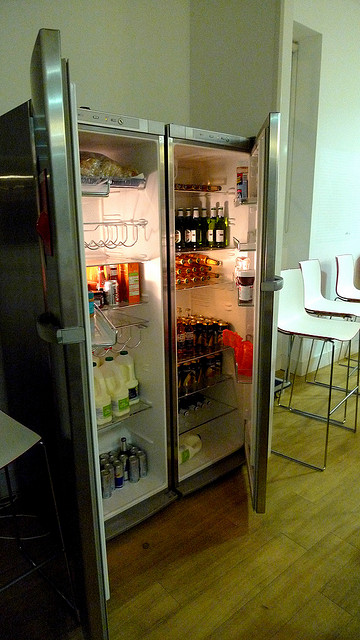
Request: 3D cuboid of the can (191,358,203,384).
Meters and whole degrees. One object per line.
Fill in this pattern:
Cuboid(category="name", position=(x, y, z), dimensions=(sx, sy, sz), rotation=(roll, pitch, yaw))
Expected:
Cuboid(category="can", position=(0.090, 0.244, 2.251), dimensions=(0.042, 0.054, 0.157), rotation=(-1, 58, -1))

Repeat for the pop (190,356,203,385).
Cuboid(category="pop", position=(0.087, 0.256, 2.243), dimensions=(0.043, 0.063, 0.159), rotation=(2, 38, 4))

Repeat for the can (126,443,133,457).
Cuboid(category="can", position=(-0.235, 0.609, 2.055), dimensions=(0.027, 0.035, 0.029), rotation=(3, 13, -1))

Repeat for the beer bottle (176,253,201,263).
Cuboid(category="beer bottle", position=(0.038, -0.305, 2.155), dimensions=(0.037, 0.049, 0.169), rotation=(-5, 0, 34))

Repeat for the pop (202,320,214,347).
Cuboid(category="pop", position=(0.142, 0.065, 2.240), dimensions=(0.067, 0.130, 0.069), rotation=(-19, 30, -35))

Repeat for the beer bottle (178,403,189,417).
Cuboid(category="beer bottle", position=(0.019, 0.454, 2.255), dimensions=(0.052, 0.026, 0.070), rotation=(22, 13, 22))

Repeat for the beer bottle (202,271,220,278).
Cuboid(category="beer bottle", position=(0.159, -0.236, 2.237), dimensions=(0.029, 0.039, 0.130), rotation=(3, -2, 19))

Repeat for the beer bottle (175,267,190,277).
Cuboid(category="beer bottle", position=(0.020, -0.232, 2.100), dimensions=(0.049, 0.038, 0.015), rotation=(-3, 59, -6))

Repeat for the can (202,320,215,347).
Cuboid(category="can", position=(0.144, 0.065, 2.240), dimensions=(0.067, 0.131, 0.069), rotation=(0, 24, 0))

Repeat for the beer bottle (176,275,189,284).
Cuboid(category="beer bottle", position=(0.019, -0.195, 2.104), dimensions=(0.041, 0.016, 0.046), rotation=(12, 46, -14))

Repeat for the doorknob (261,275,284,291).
Cuboid(category="doorknob", position=(0.308, -0.115, 1.451), dimensions=(0.068, 0.029, 0.052), rotation=(15, 33, 32))

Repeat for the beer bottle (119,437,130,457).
Cuboid(category="beer bottle", position=(-0.259, 0.593, 2.047), dimensions=(0.037, 0.101, 0.041), rotation=(-5, 32, -11))

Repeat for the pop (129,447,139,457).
Cuboid(category="pop", position=(-0.214, 0.603, 2.027), dimensions=(0.026, 0.008, 0.032), rotation=(2, 22, 1))

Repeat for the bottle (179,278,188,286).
Cuboid(category="bottle", position=(0.019, -0.184, 2.090), dimensions=(0.030, 0.033, 0.072), rotation=(-4, 8, -31))
